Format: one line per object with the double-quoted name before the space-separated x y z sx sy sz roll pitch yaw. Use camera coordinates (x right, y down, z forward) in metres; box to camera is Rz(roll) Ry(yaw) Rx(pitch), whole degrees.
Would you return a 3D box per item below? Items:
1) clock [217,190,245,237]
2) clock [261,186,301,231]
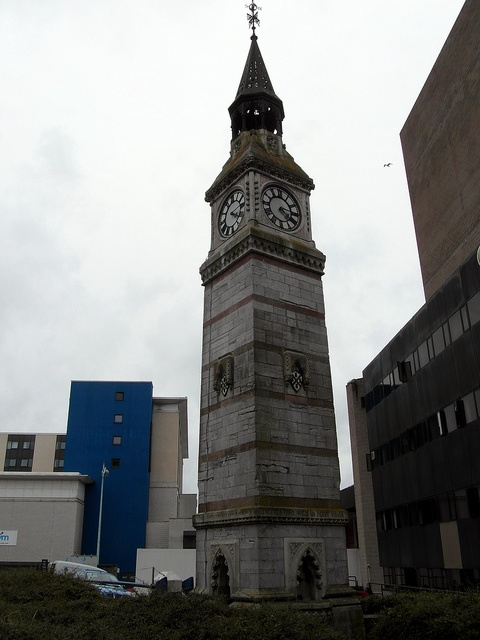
"clock" -0.356 -4.786 23.132 0.135 2.159 1.893 12 -24 -22
"clock" 1.740 -4.897 22.740 0.166 2.016 1.817 -21 5 32
